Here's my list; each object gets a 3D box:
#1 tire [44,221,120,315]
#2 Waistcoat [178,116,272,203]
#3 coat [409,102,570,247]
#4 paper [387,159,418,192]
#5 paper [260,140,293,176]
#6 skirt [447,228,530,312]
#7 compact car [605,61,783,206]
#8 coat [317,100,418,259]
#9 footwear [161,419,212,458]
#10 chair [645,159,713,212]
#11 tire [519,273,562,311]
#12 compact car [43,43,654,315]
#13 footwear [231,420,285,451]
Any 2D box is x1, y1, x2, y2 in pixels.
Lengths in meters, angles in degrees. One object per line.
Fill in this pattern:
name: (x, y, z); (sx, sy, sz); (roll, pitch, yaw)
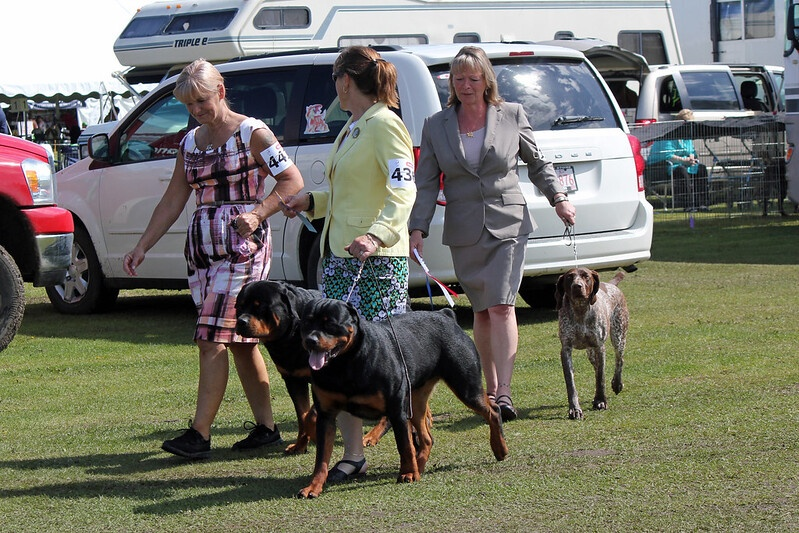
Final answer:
tire: (-3.896, 0.057, 12.510); (1.078, 1.116, 0.393); (-1, 0, 40)
Waistcoat: (-1.335, -0.764, 7.733); (0.711, 0.677, 0.436); (-7, -6, 19)
coat: (0.692, -0.759, 8.487); (1.359, 1.159, 0.567); (-5, 1, 1)
paper: (0.009, -0.659, 7.228); (0.210, 0.224, 0.203); (5, -8, -40)
paper: (-0.969, -0.832, 7.603); (0.218, 0.239, 0.228); (-26, 25, -17)
skirt: (0.726, -0.007, 8.320); (0.522, 0.755, 0.409); (-28, -13, 26)
compact car: (6.568, -2.720, 20.335); (2.616, 2.320, 4.015); (2, 10, 40)
coat: (-0.250, -0.631, 7.504); (0.692, 1.149, 1.332); (0, 1, -23)
footwear: (-1.567, 1.334, 7.602); (0.202, 0.269, 0.460); (-3, -15, 30)
chair: (5.409, -1.516, 19.717); (1.102, 0.746, 0.635); (0, -5, -15)
tire: (1.632, 0.264, 11.735); (0.238, 0.490, 0.654); (4, -10, -29)
compact car: (-0.941, -0.981, 11.423); (6.310, 2.351, 3.164); (6, 7, 37)
footwear: (-1.072, 1.328, 7.906); (0.430, 0.198, 0.157); (-1, -1, -25)
